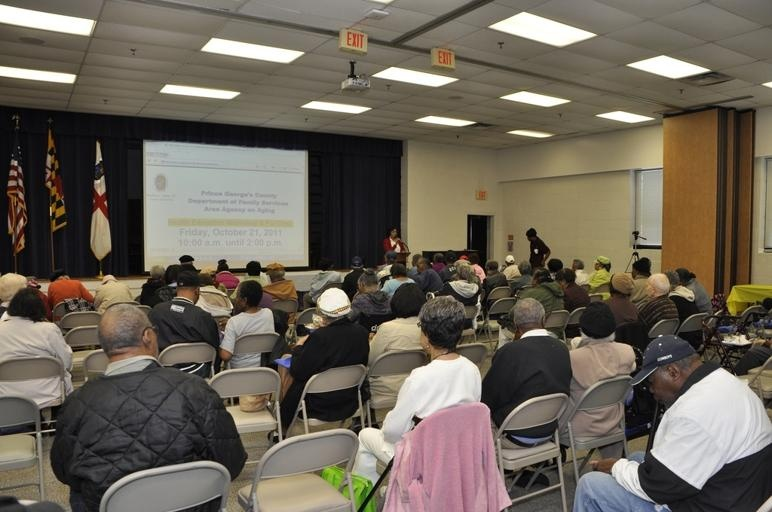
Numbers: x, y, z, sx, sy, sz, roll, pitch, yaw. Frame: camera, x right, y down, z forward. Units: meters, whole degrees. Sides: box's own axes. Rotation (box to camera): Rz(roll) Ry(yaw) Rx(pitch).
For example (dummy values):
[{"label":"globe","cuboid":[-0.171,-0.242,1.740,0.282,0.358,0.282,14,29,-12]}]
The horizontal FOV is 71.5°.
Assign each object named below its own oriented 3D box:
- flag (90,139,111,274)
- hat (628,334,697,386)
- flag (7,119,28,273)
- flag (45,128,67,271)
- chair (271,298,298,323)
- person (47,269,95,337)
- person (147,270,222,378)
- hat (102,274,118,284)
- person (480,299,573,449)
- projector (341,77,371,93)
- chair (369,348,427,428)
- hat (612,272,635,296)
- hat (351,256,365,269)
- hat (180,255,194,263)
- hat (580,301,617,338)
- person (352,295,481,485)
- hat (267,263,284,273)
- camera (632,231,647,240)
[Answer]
[{"label":"flag","cuboid":[-6.203,-1.005,11.616,0.410,2.940,0.390,-3,4,-27]},{"label":"hat","cuboid":[1.786,0.640,3.556,0.405,0.244,0.259,-26,-4,22]},{"label":"flag","cuboid":[-7.467,-1.240,10.841,0.369,3.156,0.427,-4,4,-35]},{"label":"flag","cuboid":[-6.926,-1.228,11.271,0.343,3.096,0.306,-4,4,-32]},{"label":"chair","cuboid":[-1.408,0.793,7.732,0.275,0.507,0.359,0,6,-13]},{"label":"person","cuboid":[-4.597,0.579,7.806,0.674,0.722,0.948,1,-17,-20]},{"label":"person","cuboid":[-2.072,0.841,5.575,0.702,1.340,0.687,4,4,-12]},{"label":"hat","cuboid":[-4.475,0.386,8.686,0.200,0.116,0.281,-4,7,-27]},{"label":"person","cuboid":[1.156,0.925,4.554,0.862,1.089,0.860,3,6,31]},{"label":"projector","cuboid":[-0.491,-2.445,7.789,0.314,0.200,0.308,0,1,-30]},{"label":"chair","cuboid":[0.080,1.160,4.867,0.449,0.809,0.601,-2,9,-16]},{"label":"hat","cuboid":[2.899,0.360,6.527,0.211,0.240,0.276,-26,25,-13]},{"label":"hat","cuboid":[-0.476,0.129,9.087,0.250,0.209,0.415,7,4,0]},{"label":"hat","cuboid":[-3.249,0.064,8.761,0.251,0.099,0.283,0,8,-13]},{"label":"hat","cuboid":[1.782,0.551,4.510,0.236,0.330,0.129,3,14,13]},{"label":"person","cuboid":[0.306,1.079,4.012,0.756,1.683,1.016,-7,13,-27]},{"label":"hat","cuboid":[-1.596,0.182,7.941,0.173,0.098,0.242,2,3,15]},{"label":"camera","cuboid":[6.130,-0.477,12.982,0.176,0.164,0.287,2,10,-37]}]
